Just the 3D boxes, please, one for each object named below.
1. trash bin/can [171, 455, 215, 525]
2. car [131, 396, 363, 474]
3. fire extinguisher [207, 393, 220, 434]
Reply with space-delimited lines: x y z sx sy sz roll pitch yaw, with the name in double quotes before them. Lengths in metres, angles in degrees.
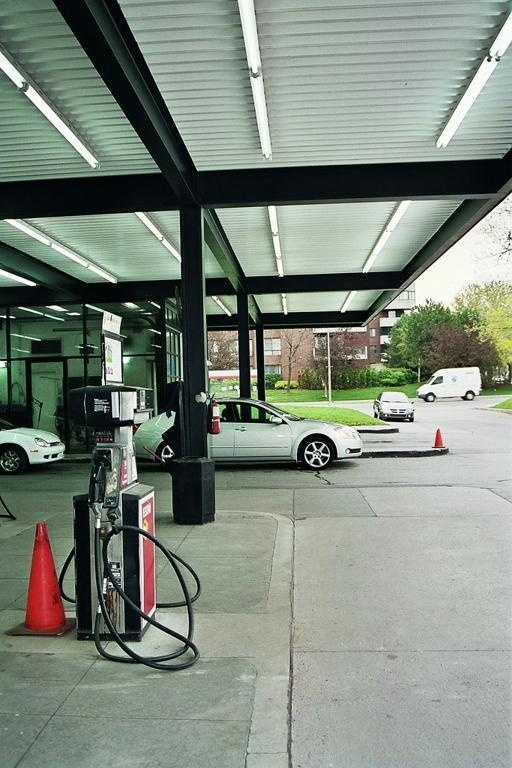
"trash bin/can" -0.708 1.215 7.091 0.471 0.723 0.282 -1 -1 -11
"car" -0.120 1.128 12.718 4.258 1.401 1.850 -2 -5 4
"fire extinguisher" -0.556 0.402 8.062 0.143 0.495 0.551 -1 -1 -2
